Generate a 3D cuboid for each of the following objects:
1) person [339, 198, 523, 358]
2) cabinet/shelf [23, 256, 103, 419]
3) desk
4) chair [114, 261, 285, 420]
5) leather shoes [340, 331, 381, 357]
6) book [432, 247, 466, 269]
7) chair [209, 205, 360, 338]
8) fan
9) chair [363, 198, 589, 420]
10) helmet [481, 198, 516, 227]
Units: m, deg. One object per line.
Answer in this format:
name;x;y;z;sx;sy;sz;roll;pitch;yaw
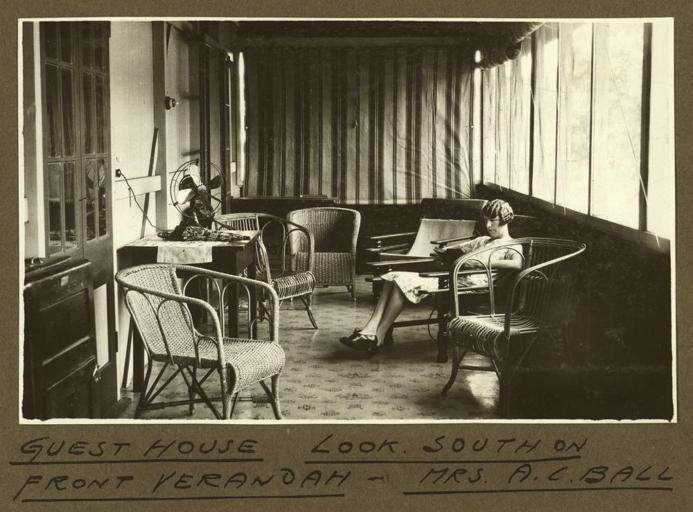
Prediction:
person;0.591;0.113;5.826;1.306;1.083;0.554;-1;6;-30
cabinet/shelf;-1.387;0.462;4.138;0.186;0.869;0.671;-1;11;-1
desk;-1.002;0.256;5.451;0.680;1.030;1.006;1;3;3
chair;-0.806;0.468;4.581;0.772;0.827;0.687;3;7;20
leather shoes;0.084;0.541;5.646;0.232;0.115;0.137;21;6;-34
book;0.682;0.016;5.691;0.145;0.156;0.124;-3;4;5
chair;-0.340;0.020;6.602;0.933;0.882;0.927;-1;1;-25
fan;-1.022;-0.405;5.751;0.347;0.536;0.301;2;23;-30
chair;0.722;0.251;5.211;0.786;1.119;1.363;-7;13;-29
helmet;0.941;-0.267;5.379;0.137;0.187;0.161;8;-2;9
